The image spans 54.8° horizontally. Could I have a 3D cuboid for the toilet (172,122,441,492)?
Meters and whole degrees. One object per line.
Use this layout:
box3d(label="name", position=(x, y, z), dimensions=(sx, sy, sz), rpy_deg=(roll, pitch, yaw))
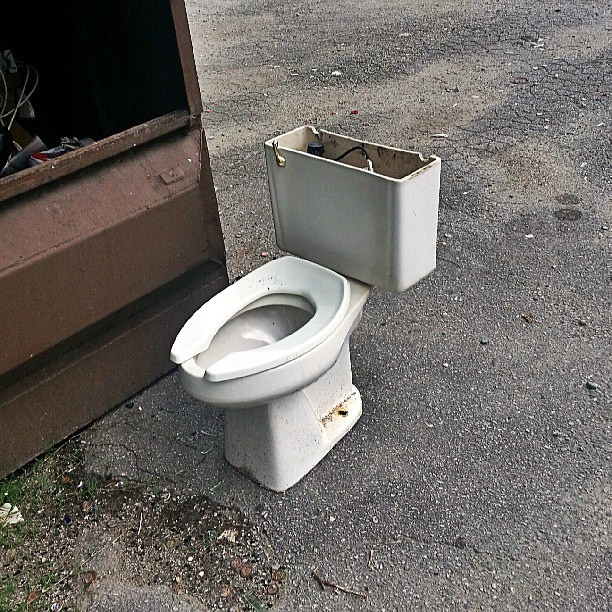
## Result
box3d(label="toilet", position=(-0.045, 0.044, 2.078), dimensions=(0.919, 1.049, 0.569), rpy_deg=(-24, 39, -24))

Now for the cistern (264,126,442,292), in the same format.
box3d(label="cistern", position=(0.142, -0.326, 2.028), dimensions=(0.632, 0.462, 0.202), rpy_deg=(25, 44, 34))
